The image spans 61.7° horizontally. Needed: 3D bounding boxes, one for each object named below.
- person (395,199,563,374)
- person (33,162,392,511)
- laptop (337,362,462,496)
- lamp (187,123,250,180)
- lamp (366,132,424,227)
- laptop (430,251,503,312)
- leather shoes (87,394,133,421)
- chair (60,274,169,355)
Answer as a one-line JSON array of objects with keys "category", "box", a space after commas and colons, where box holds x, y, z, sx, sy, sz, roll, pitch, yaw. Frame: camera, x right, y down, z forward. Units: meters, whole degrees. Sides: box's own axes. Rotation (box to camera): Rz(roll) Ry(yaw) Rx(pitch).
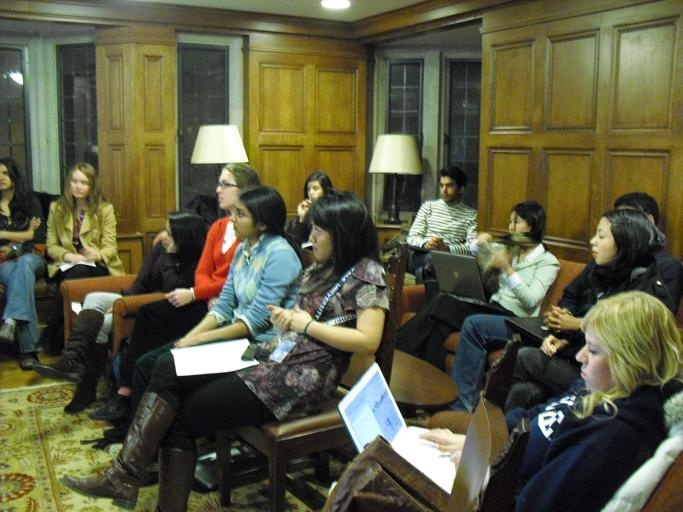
[{"category": "person", "box": [0.720, 0.171, 4.025, 1.189, 1.322, 0.782, 1, 0, 1]}, {"category": "person", "box": [-0.434, 0.427, 2.905, 1.506, 1.815, 0.916, 7, -3, -16]}, {"category": "laptop", "box": [0.204, 0.555, 1.804, 0.308, 0.214, 0.333, 12, -12, 44]}, {"category": "lamp", "box": [-1.168, -0.915, 5.484, 0.565, 0.516, 0.596, 0, 6, -3]}, {"category": "lamp", "box": [0.568, -0.797, 6.148, 0.562, 0.934, 0.563, 2, 6, 3]}, {"category": "laptop", "box": [0.785, 0.098, 3.730, 0.292, 0.313, 0.407, -8, 9, -38]}, {"category": "leather shoes", "box": [-1.221, 0.818, 3.078, 0.259, 0.121, 0.097, 1, 2, -34]}, {"category": "chair", "box": [-1.488, 0.304, 3.816, 0.509, 0.423, 0.613, 6, 5, 42]}]
